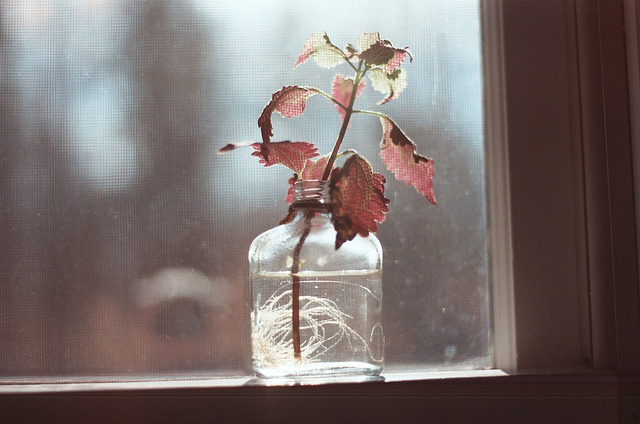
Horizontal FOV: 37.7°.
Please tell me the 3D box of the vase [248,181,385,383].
[{"bbox_3d":[-0.007,0.143,1.615,0.240,0.234,0.221,-6,-46,-6],"label":"vase"}]
